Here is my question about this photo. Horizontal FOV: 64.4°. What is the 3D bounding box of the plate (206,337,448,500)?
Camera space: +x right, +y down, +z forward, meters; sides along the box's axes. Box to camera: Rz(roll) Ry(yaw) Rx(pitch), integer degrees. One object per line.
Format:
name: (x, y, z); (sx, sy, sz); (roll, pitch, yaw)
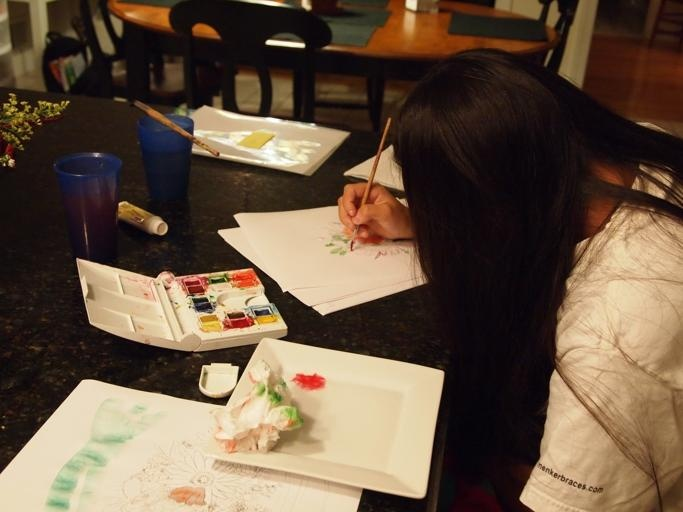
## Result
plate: (0.003, 0.193, 0.680); (0.205, 0.028, 0.180); (11, 39, 8)

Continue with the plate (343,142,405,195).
plate: (0.083, -0.202, 1.284); (0.156, 0.017, 0.147); (-21, 43, -31)
